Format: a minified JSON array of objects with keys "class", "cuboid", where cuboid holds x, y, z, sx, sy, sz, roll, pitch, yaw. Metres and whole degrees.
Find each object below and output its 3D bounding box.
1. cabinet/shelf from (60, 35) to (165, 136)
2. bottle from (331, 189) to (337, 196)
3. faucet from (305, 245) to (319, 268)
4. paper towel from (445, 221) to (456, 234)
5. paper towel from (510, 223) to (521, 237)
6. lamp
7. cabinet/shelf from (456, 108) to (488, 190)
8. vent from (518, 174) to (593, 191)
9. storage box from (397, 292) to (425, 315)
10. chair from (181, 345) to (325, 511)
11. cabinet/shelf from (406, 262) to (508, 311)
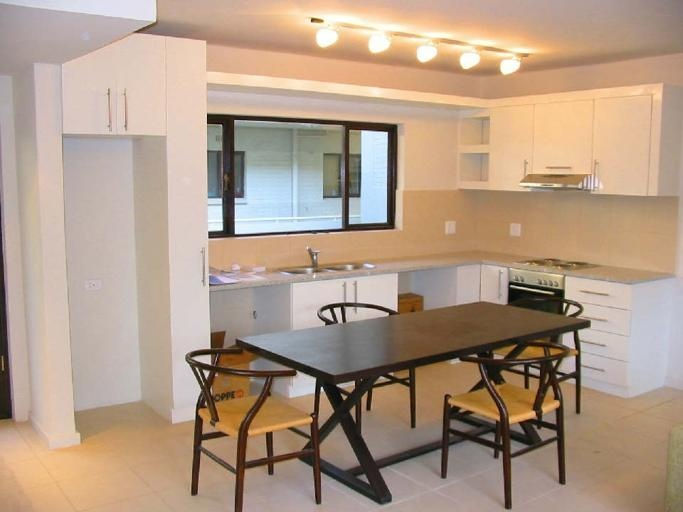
[{"class":"cabinet/shelf","cuboid":[-1.709,-1.268,4.127,0.854,0.690,0.348,-5,11,-34]},{"class":"bottle","cuboid":[-0.080,-0.770,6.827,0.087,0.091,0.043,3,12,14]},{"class":"faucet","cuboid":[-0.295,0.006,5.844,0.135,0.236,0.397,-1,10,-3]},{"class":"paper towel","cuboid":[1.349,-0.365,6.950,0.182,0.161,0.018,-4,10,-36]},{"class":"paper towel","cuboid":[2.122,-0.327,6.820,0.016,0.147,0.159,-10,18,-42]},{"class":"lamp","cuboid":[0.658,-1.829,5.043,2.320,0.231,0.601,-5,11,-27]},{"class":"cabinet/shelf","cuboid":[1.772,-1.300,6.944,0.337,0.888,0.520,-16,18,-33]},{"class":"vent","cuboid":[2.247,-0.771,5.777,0.252,0.158,0.819,-7,12,-36]},{"class":"storage box","cuboid":[0.755,0.516,6.341,0.309,0.263,0.204,-6,11,-31]},{"class":"chair","cuboid":[-0.626,1.191,3.811,0.875,1.036,0.882,-7,11,-38]},{"class":"cabinet/shelf","cuboid":[1.387,0.351,6.667,1.339,0.601,0.801,8,-4,14]}]
